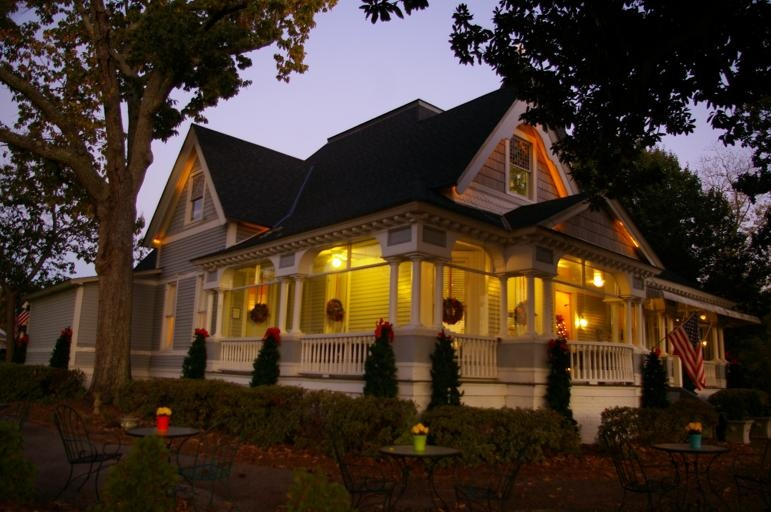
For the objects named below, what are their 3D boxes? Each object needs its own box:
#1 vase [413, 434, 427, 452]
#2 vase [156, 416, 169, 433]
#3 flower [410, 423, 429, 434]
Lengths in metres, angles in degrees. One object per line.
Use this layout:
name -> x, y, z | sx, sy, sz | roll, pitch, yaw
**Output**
vase -> 0.673, 3.570, 12.137 | 0.226, 0.239, 0.247 | -12, -22, 35
vase -> -4.555, 3.408, 12.890 | 0.246, 0.287, 0.319 | 0, -21, -4
flower -> 0.672, 3.356, 12.400 | 0.297, 0.209, 0.398 | 2, -6, -1
